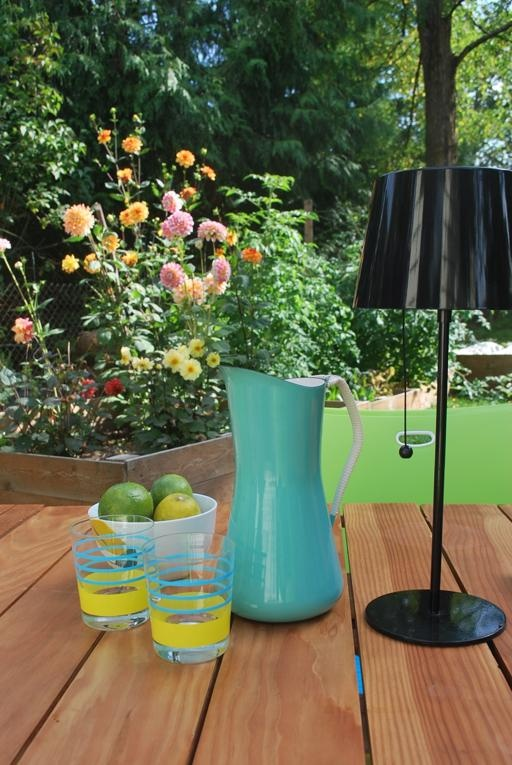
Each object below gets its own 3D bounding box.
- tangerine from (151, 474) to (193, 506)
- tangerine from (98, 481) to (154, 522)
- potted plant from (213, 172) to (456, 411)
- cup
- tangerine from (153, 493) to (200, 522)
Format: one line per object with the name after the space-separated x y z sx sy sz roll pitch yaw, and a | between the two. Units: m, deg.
-0.095 0.115 0.726 0.035 0.041 0.034 5 22 -3 | tangerine
-0.131 0.117 0.658 0.045 0.042 0.043 -1 -3 17 | tangerine
0.581 -0.525 4.742 1.234 1.295 1.470 -2 7 26 | potted plant
-0.088 0.161 0.583 0.144 0.114 0.105 2 0 -41 | cup
-0.082 0.128 0.657 0.032 0.029 0.031 3 3 -1 | tangerine
